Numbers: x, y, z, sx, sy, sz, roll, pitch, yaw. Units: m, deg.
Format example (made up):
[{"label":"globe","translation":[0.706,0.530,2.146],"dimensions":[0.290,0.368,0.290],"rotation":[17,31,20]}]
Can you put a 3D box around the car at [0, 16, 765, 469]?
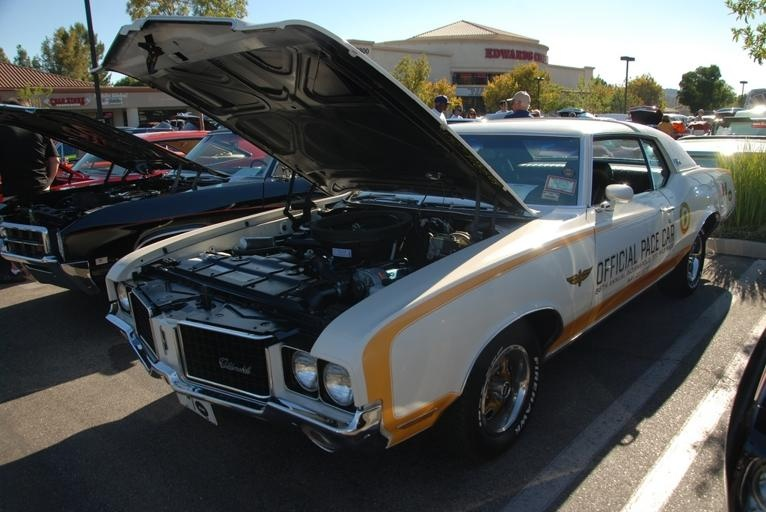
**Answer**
[{"label":"car","translation":[0.338,-0.211,4.196],"dimensions":[4.538,2.964,2.344],"rotation":[-9,19,-29]}]

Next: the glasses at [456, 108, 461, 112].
[{"label":"glasses","translation":[2.158,-4.244,14.850],"dimensions":[0.163,0.049,0.185],"rotation":[-1,13,11]}]
